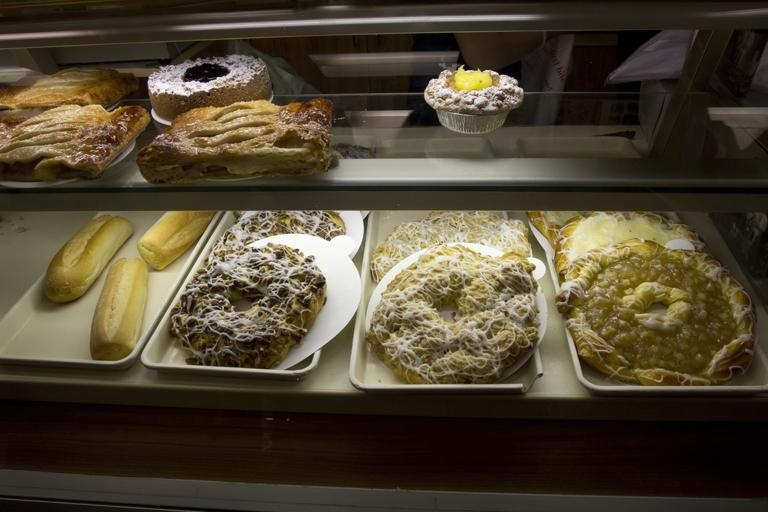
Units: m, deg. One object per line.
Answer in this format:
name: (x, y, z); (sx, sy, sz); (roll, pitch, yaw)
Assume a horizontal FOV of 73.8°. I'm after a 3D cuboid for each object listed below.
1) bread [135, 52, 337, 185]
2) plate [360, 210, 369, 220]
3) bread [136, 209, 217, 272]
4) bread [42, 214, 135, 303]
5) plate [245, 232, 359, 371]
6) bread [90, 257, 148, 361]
bread: (-0.347, -0.340, 1.204); (0.439, 0.085, 0.428); (-7, 49, -1)
plate: (-0.063, -0.143, 1.686); (0.041, 0.034, 0.037); (-3, 39, -2)
bread: (-0.660, -0.092, 1.735); (0.160, 0.116, 0.317); (26, 49, 18)
bread: (-0.943, 0.017, 1.673); (0.152, 0.105, 0.315); (12, 43, 12)
plate: (-0.165, 0.108, 1.463); (0.316, 0.360, 0.390); (9, 27, 19)
bread: (-0.767, 0.163, 1.481); (0.117, 0.088, 0.316); (16, 39, -24)
